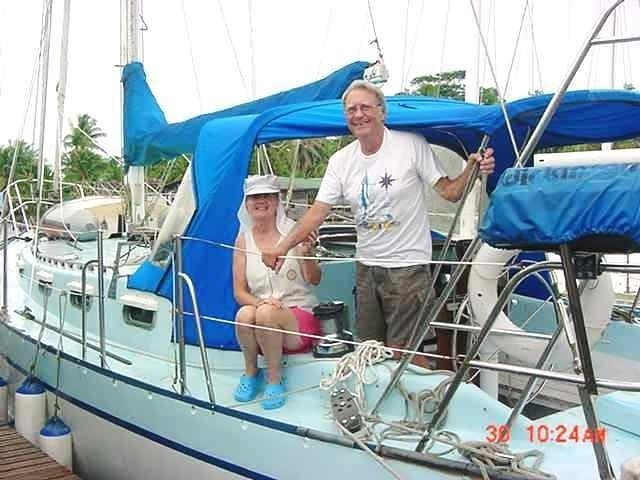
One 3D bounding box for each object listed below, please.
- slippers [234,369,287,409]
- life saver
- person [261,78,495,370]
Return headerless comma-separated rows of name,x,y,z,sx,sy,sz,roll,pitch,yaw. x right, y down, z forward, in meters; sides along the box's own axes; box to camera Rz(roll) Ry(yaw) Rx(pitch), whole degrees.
slippers,-0.308,0.789,3.258,0.283,0.135,0.234,5,7,20
life saver,1.258,0.335,3.537,0.731,0.794,0.610,-1,3,24
person,0.317,0.114,3.439,1.167,1.906,0.595,1,17,14
